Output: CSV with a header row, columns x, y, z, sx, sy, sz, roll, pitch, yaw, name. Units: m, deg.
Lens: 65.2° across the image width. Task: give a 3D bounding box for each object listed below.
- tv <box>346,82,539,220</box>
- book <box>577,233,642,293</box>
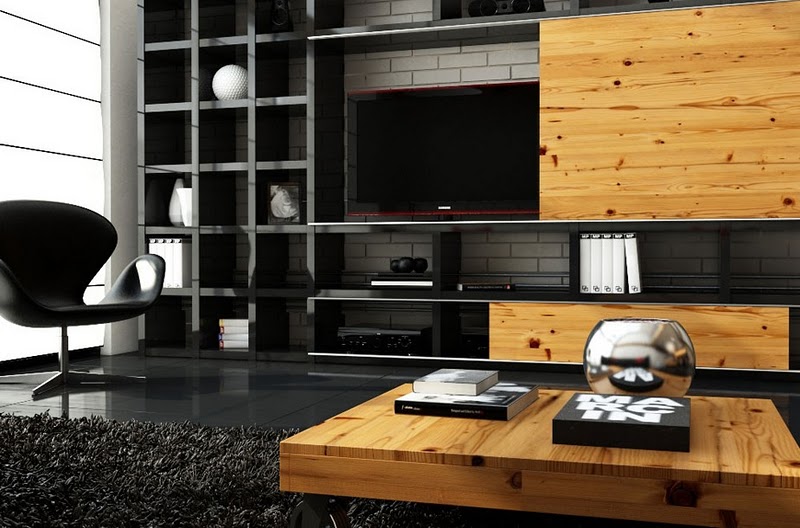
x,y,z,sx,sy,sz,roll,pitch,yaw,name
0.354,-0.804,4.514,1.335,0.673,0.127,1,1,13,tv
1.451,0.011,4.366,0.427,0.444,0.530,0,1,22,book
